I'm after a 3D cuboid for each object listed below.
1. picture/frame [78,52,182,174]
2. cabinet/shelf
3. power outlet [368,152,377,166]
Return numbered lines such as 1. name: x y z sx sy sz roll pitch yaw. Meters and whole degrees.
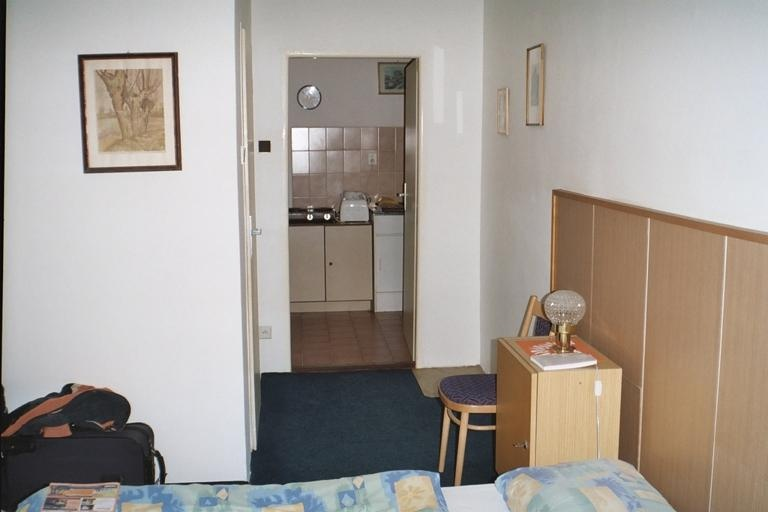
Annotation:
1. picture/frame: -1.380 -0.799 3.275 0.617 0.783 0.043 -1 6 -6
2. cabinet/shelf: -0.594 0.101 6.503 0.858 0.839 0.304 -1 6 -6
3. power outlet: -0.143 -1.161 7.201 0.143 0.206 0.021 -1 8 -12
